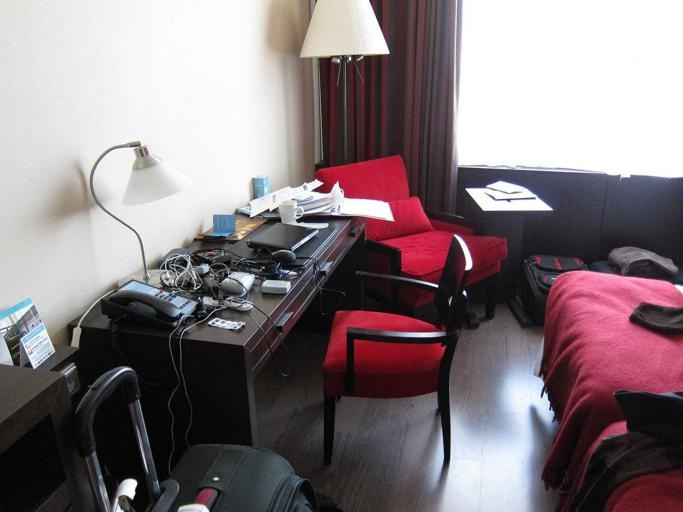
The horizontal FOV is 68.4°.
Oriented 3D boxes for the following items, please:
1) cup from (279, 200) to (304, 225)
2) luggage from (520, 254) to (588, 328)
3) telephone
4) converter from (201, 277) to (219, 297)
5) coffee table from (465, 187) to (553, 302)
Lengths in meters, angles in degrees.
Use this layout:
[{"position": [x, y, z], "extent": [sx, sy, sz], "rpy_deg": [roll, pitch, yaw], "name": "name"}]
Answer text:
[{"position": [-0.259, -0.227, 2.610], "extent": [0.137, 0.134, 0.093], "rpy_deg": [8, 21, 18], "name": "cup"}, {"position": [1.381, 0.145, 3.359], "extent": [0.414, 0.280, 0.448], "rpy_deg": [-2, 32, 2], "name": "luggage"}, {"position": [-0.686, 0.162, 1.805], "extent": [0.286, 0.120, 0.227], "rpy_deg": [14, 22, 13], "name": "telephone"}, {"position": [-0.505, 0.121, 1.931], "extent": [0.041, 0.034, 0.058], "rpy_deg": [-19, 40, -15], "name": "converter"}, {"position": [1.053, -0.108, 3.466], "extent": [0.593, 0.727, 0.605], "rpy_deg": [4, 30, 9], "name": "coffee table"}]
